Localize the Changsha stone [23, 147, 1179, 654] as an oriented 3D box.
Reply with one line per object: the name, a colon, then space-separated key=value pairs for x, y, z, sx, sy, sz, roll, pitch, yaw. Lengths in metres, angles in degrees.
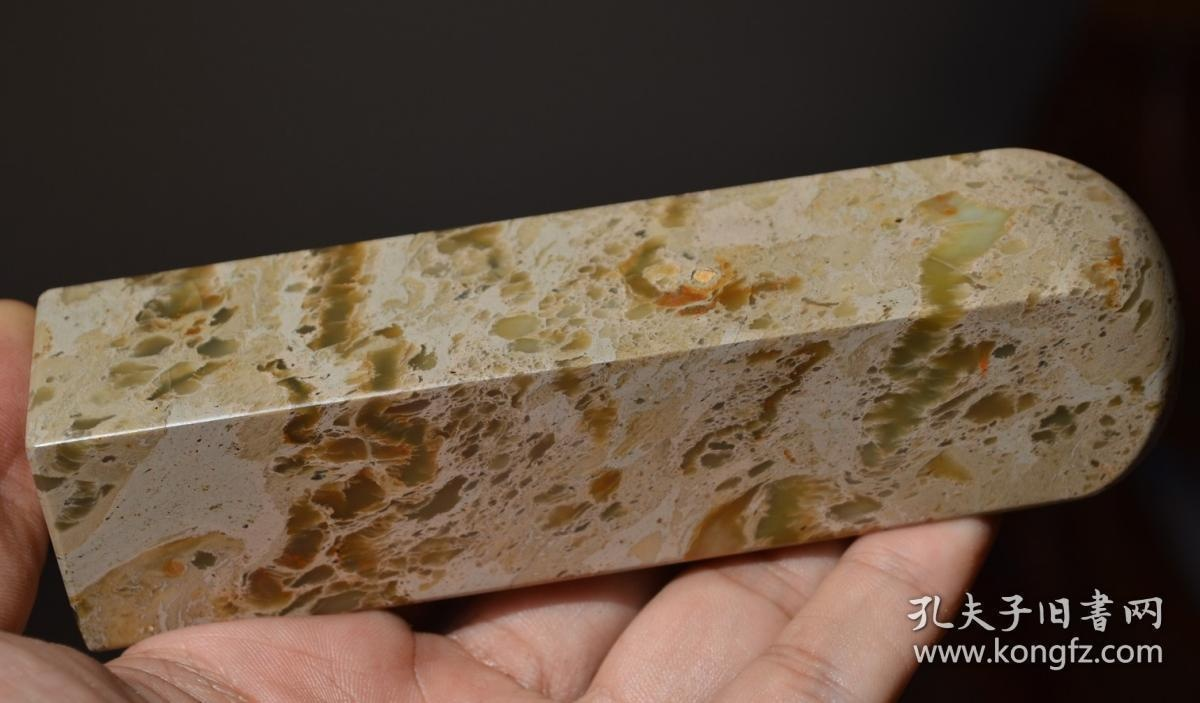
Changsha stone: x=0.001 y=0.077 z=1.420 sx=1.359 sy=0.374 sz=0.286 roll=-8 pitch=46 yaw=-3

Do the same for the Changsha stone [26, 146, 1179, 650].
Changsha stone: x=0.003 y=0.074 z=1.420 sx=1.339 sy=0.367 sz=0.282 roll=-8 pitch=45 yaw=-3
